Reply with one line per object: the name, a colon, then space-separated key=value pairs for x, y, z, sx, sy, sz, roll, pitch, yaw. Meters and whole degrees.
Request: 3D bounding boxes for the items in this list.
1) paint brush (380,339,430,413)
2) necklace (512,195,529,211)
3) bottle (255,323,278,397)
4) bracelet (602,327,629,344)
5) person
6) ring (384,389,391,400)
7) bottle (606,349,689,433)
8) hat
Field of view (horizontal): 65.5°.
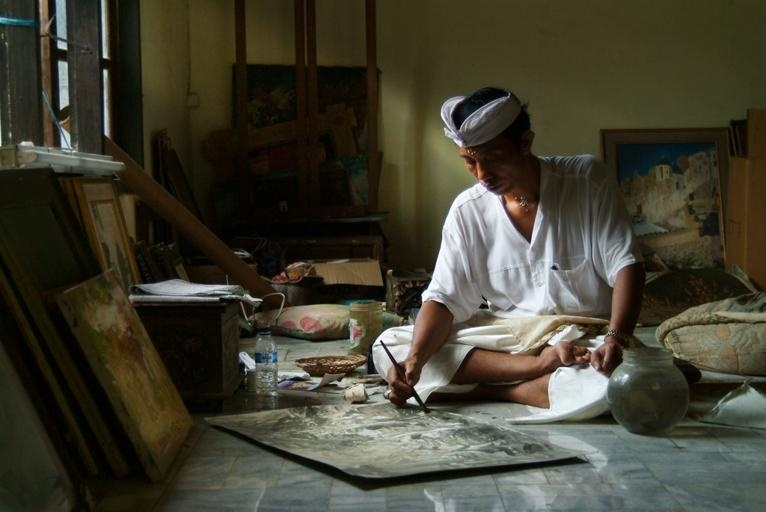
paint brush: x=0.114 y=0.577 z=2.849 sx=0.049 sy=0.377 sz=0.040 roll=-36 pitch=-12 yaw=-18
necklace: x=0.691 y=-0.271 z=2.977 sx=0.038 sy=0.051 sz=0.076 roll=-6 pitch=-3 yaw=-7
bottle: x=-0.615 y=0.558 z=3.089 sx=0.107 sy=0.289 sz=0.139 roll=-4 pitch=15 yaw=0
bracelet: x=1.051 y=0.351 z=2.667 sx=0.074 sy=0.026 sz=0.070 roll=30 pitch=-3 yaw=-42
person: x=0.682 y=-0.043 z=2.847 sx=1.044 sy=1.502 sz=0.772 roll=3 pitch=16 yaw=23
ring: x=0.023 y=0.675 z=2.931 sx=0.028 sy=0.033 sz=0.083 roll=-2 pitch=-2 yaw=-4
bottle: x=1.080 y=0.552 z=2.593 sx=0.344 sy=0.330 sz=0.347 roll=-2 pitch=-2 yaw=1
hat: x=0.496 y=-0.632 z=2.839 sx=0.322 sy=0.160 sz=0.278 roll=-37 pitch=22 yaw=-17
